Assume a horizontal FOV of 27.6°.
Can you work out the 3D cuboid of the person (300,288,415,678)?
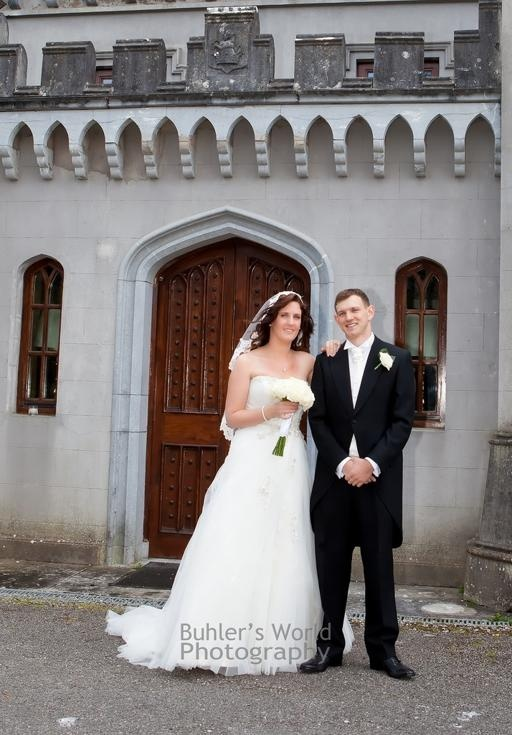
[{"bbox_3d":[0.570,0.609,5.635,0.593,2.070,0.344,1,-6,9],"label":"person"}]

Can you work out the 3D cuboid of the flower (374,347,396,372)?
[{"bbox_3d":[0.710,-0.050,5.634,0.104,0.121,0.097,3,-5,-8],"label":"flower"}]

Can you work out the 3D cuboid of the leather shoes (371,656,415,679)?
[{"bbox_3d":[0.724,1.581,5.617,0.103,0.127,0.278,-1,-4,-43],"label":"leather shoes"}]

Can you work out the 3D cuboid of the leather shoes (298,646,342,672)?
[{"bbox_3d":[0.369,1.572,5.678,0.101,0.136,0.297,-3,-10,43],"label":"leather shoes"}]

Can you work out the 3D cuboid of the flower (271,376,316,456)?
[{"bbox_3d":[0.156,0.319,5.786,0.209,0.379,0.208,4,-30,19],"label":"flower"}]
